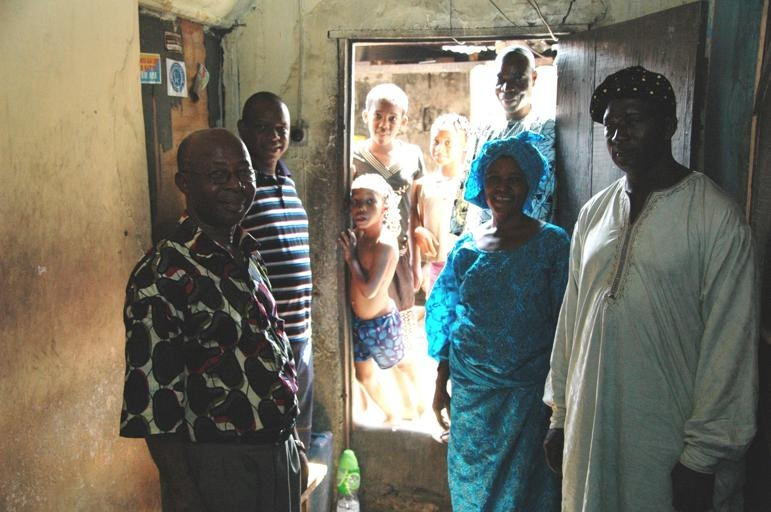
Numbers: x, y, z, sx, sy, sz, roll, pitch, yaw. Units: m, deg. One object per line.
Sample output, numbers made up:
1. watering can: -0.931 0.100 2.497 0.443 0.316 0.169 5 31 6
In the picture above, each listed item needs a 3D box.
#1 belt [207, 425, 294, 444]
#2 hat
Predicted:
1. belt: -0.654 0.806 4.302 0.362 0.130 0.115 -2 0 -8
2. hat: 1.194 -0.805 4.420 0.324 0.156 0.314 20 53 27
